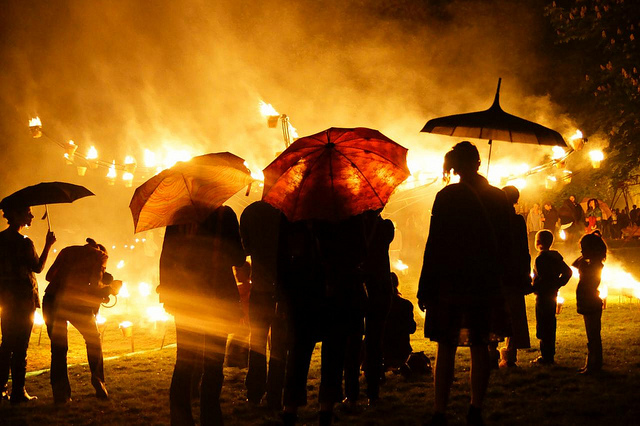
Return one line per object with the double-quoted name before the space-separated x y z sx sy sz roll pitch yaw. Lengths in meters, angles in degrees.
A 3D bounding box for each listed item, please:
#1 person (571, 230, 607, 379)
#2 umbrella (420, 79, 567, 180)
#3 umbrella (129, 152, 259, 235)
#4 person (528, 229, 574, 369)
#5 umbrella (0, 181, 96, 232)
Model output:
"person" 5.511 1.780 14.037 0.829 3.031 0.319 -6 -17 17
"umbrella" 3.789 -1.890 14.826 2.761 2.226 2.570 -1 14 -13
"umbrella" -2.541 -0.345 13.467 2.517 0.883 2.539 -2 16 43
"person" 4.785 1.706 14.514 0.772 2.969 0.845 1 -16 -6
"umbrella" -6.017 -0.328 14.791 1.368 0.902 1.324 -16 3 -40
